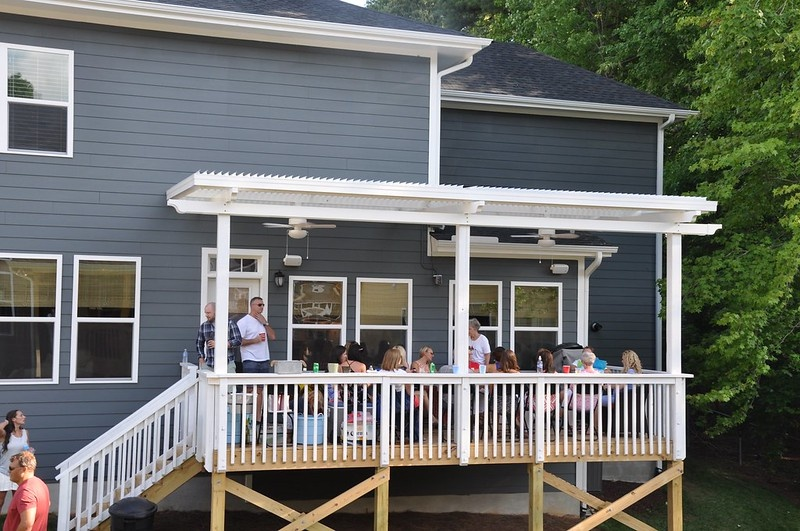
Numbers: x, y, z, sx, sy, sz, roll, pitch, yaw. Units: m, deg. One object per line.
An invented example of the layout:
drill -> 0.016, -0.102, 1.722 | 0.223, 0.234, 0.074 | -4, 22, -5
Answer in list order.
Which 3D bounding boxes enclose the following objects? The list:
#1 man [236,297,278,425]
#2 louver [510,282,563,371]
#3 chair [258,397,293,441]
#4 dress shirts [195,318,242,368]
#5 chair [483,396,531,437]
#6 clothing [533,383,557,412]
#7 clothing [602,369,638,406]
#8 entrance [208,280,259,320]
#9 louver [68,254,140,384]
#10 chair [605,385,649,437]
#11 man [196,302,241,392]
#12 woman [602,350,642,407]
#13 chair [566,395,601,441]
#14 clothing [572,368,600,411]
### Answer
man -> -2.808, 1.806, 25.653 | 0.907, 2.386, 0.812 | 2, -3, -29
louver -> 2.981, 1.349, 28.458 | 1.383, 2.003, 0.112 | 2, -4, -31
chair -> -2.269, 2.856, 24.631 | 0.751, 0.755, 0.691 | 3, 1, -17
dress shirts -> -3.502, 1.425, 25.253 | 1.079, 0.940, 0.602 | -1, 7, 19
chair -> 2.121, 2.855, 25.419 | 0.808, 0.822, 1.339 | 2, -2, 4
clothing -> 2.784, 2.520, 25.261 | 0.575, 0.446, 0.615 | 3, -14, 0
clothing -> 4.190, 2.324, 25.381 | 0.901, 0.744, 0.651 | 1, -9, 1
entrance -> -3.345, 0.665, 26.540 | 0.126, 0.841, 1.108 | 3, 5, 29
louver -> -5.826, 1.019, 25.847 | 1.254, 2.452, 0.184 | 3, -2, -18
chair -> 4.416, 2.786, 25.551 | 1.201, 0.953, 1.096 | 0, -3, -2
man -> -3.480, 1.323, 25.213 | 0.840, 1.294, 2.073 | 2, -2, -7
woman -> 4.472, 2.115, 25.868 | 0.859, 0.963, 0.717 | -1, 2, 22
chair -> 3.560, 2.743, 25.182 | 0.697, 0.635, 0.626 | 4, -4, -12
clothing -> 3.595, 2.362, 25.355 | 0.524, 0.857, 0.916 | 2, -2, 7
